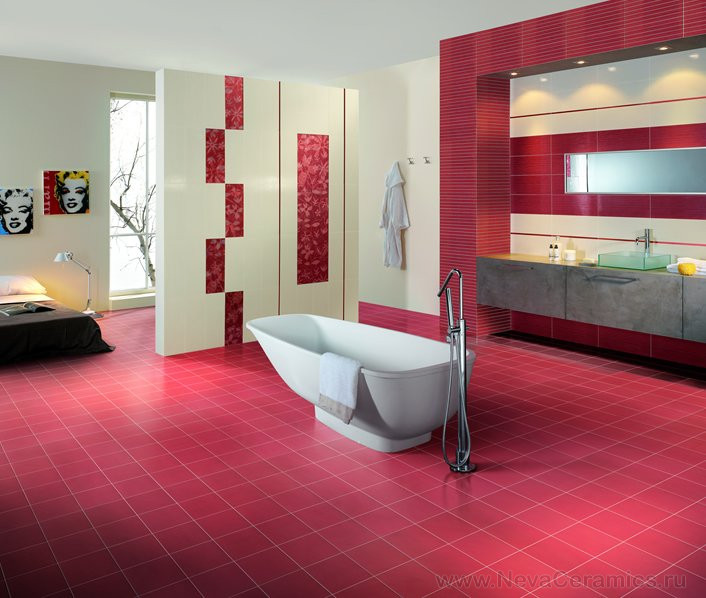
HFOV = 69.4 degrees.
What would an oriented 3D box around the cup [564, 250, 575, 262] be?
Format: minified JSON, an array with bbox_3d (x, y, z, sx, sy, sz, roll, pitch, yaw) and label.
[{"bbox_3d":[2.257,-0.458,5.367,0.125,0.099,0.120,-1,4,0],"label":"cup"}]

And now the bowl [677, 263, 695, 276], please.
[{"bbox_3d":[2.793,-0.255,4.285,0.132,0.110,0.113,4,9,28],"label":"bowl"}]

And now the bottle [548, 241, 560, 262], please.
[{"bbox_3d":[2.149,-0.517,5.452,0.106,0.199,0.231,3,9,22],"label":"bottle"}]

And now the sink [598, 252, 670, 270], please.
[{"bbox_3d":[2.577,-0.358,4.718,0.594,0.151,0.289,4,9,28],"label":"sink"}]

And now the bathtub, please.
[{"bbox_3d":[-0.009,0.554,3.507,0.868,0.665,1.704,-6,10,-35],"label":"bathtub"}]

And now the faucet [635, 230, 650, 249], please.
[{"bbox_3d":[2.749,-0.573,4.858,0.104,0.194,0.206,1,8,10],"label":"faucet"}]

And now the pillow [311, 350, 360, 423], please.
[{"bbox_3d":[-0.076,0.512,2.948,0.121,0.361,0.359,-6,18,-40],"label":"pillow"}]
